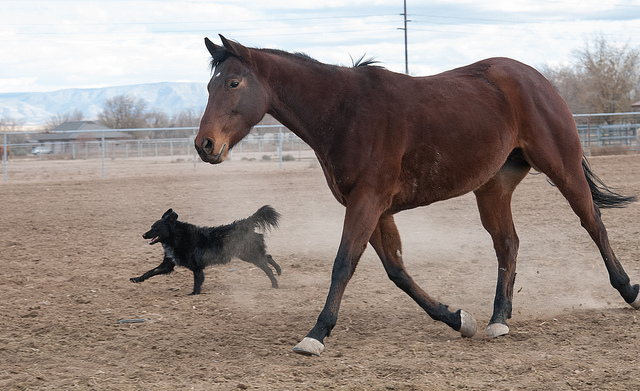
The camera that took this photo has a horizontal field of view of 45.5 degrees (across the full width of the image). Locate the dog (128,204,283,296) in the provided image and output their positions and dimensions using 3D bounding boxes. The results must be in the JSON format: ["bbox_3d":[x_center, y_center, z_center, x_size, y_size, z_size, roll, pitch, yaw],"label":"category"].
[{"bbox_3d":[-1.806,0.923,12.672,2.765,1.223,0.642,-1,-2,-38],"label":"dog"}]

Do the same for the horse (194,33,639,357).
[{"bbox_3d":[1.226,-0.091,10.585,5.441,4.121,1.181,-3,9,-13],"label":"horse"}]
